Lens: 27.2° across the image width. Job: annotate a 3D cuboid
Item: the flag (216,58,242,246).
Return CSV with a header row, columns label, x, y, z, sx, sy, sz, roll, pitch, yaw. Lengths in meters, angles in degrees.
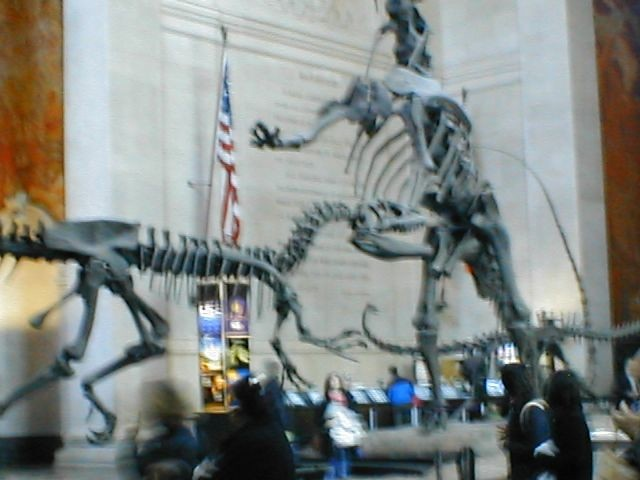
label,x,y,z,sx,sy,sz,roll,pitch,yaw
flag,-1.375,-1.148,19.576,0.306,3.259,0.293,3,5,39
